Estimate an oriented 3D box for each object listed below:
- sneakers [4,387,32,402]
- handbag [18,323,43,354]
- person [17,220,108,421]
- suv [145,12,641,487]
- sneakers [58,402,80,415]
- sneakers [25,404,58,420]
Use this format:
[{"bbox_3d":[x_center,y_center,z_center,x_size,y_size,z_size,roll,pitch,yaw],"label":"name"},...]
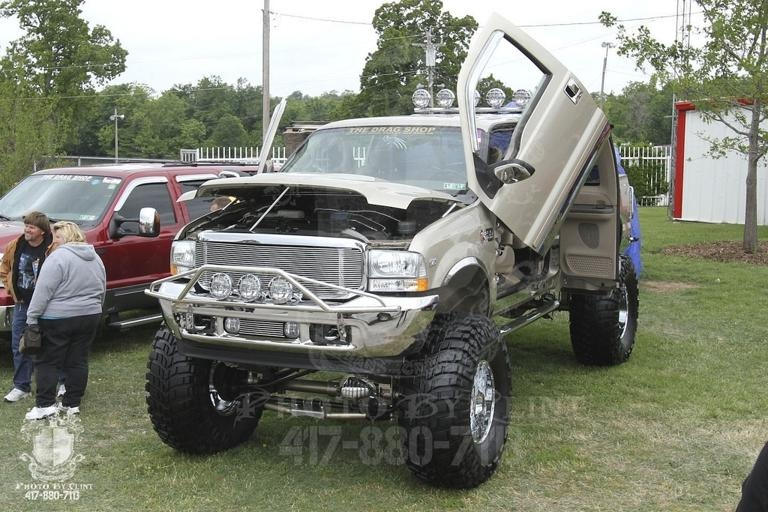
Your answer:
[{"bbox_3d":[-4.061,1.560,7.310,0.125,0.093,0.234,0,-6,9],"label":"sneakers"},{"bbox_3d":[-3.568,0.857,6.675,0.210,0.306,0.154,-7,15,-28],"label":"handbag"},{"bbox_3d":[-3.381,0.673,6.910,0.492,1.981,0.946,6,15,27],"label":"person"},{"bbox_3d":[0.443,-0.080,7.527,3.707,3.183,5.603,-2,1,29],"label":"suv"},{"bbox_3d":[-3.335,1.627,6.975,0.257,0.101,0.088,8,-1,14],"label":"sneakers"},{"bbox_3d":[-3.497,1.629,6.845,0.351,0.153,0.125,0,1,-12],"label":"sneakers"}]
